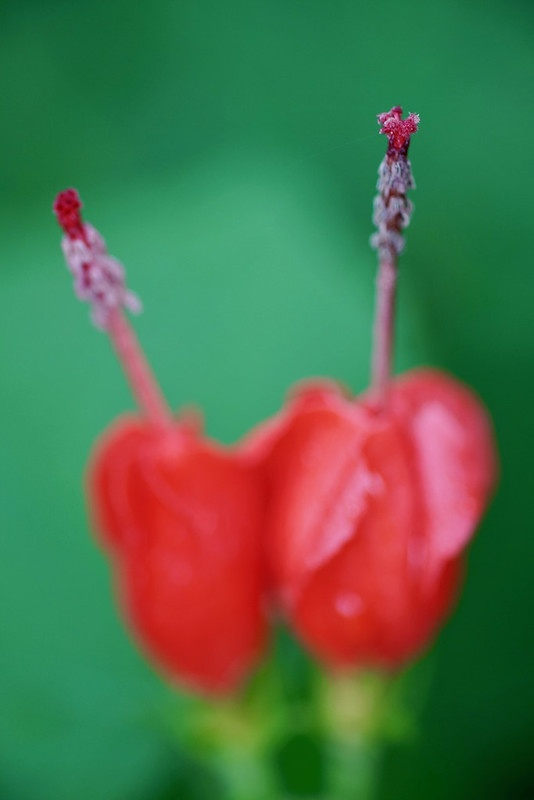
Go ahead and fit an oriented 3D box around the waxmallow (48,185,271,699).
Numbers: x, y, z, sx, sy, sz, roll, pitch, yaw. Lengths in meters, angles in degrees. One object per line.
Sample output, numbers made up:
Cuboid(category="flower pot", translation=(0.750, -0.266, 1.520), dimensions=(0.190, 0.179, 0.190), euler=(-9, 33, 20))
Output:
Cuboid(category="waxmallow", translation=(-0.121, 0.047, 0.875), dimensions=(0.148, 0.475, 0.291), euler=(-24, 37, -35))
